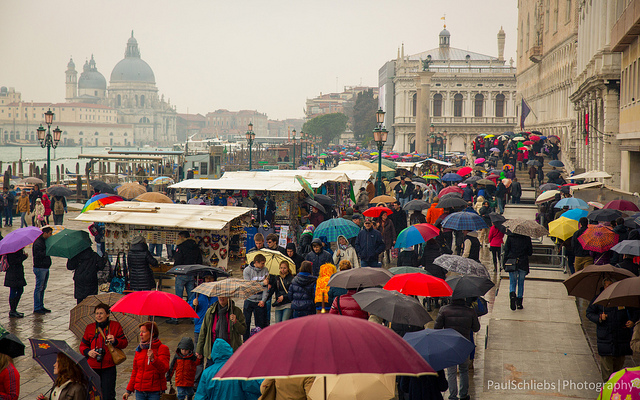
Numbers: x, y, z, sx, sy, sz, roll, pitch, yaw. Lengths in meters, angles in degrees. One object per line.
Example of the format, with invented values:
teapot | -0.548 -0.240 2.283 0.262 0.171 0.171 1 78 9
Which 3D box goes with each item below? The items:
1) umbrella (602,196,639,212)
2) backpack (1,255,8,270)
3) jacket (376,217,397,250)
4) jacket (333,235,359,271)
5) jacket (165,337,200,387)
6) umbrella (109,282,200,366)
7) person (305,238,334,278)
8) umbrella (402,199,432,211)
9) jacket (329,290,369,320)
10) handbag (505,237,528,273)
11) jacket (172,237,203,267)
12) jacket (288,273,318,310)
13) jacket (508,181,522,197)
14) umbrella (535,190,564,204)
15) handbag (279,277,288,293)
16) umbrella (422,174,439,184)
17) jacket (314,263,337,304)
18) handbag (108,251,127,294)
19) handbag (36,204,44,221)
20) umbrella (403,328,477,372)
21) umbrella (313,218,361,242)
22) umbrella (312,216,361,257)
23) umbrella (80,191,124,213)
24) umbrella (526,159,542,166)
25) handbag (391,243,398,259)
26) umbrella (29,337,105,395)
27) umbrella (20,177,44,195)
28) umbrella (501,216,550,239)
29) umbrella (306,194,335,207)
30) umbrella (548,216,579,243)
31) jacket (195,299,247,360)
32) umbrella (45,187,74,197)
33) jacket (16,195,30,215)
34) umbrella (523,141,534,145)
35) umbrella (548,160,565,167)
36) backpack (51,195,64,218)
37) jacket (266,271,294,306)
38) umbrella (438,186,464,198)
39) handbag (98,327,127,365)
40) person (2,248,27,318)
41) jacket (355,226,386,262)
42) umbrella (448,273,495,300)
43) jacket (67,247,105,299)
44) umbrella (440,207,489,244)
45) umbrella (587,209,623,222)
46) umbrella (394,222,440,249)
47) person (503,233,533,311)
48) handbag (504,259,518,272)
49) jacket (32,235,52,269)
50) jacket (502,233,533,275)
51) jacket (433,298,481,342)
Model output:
umbrella | 10.520 0.232 32.082 1.219 0.409 1.014 -1 4 0
backpack | -9.548 1.887 27.817 0.186 0.438 0.100 -2 3 -20
jacket | 2.273 1.280 32.296 0.714 1.815 0.568 0 19 7
jacket | 0.777 1.854 28.327 0.767 1.657 0.558 -1 31 8
jacket | -3.479 4.406 23.525 1.018 1.727 0.611 -1 0 18
umbrella | -4.140 2.858 22.921 1.740 1.755 1.729 19 -34 -36
person | 0.001 1.738 27.115 0.762 1.688 0.519 -3 -14 8
umbrella | 3.583 0.186 33.639 0.551 0.204 0.568 -8 -6 -18
jacket | 0.838 2.902 24.455 1.079 0.962 0.595 1 -12 2
handbag | 6.045 1.655 28.282 0.342 0.865 0.752 24 -16 -36
jacket | -4.050 1.599 28.201 1.060 1.190 0.712 -3 -5 -25
jacket | -0.467 2.616 25.633 0.861 1.102 0.705 1 -9 6
jacket | 8.919 -0.498 42.149 0.566 0.637 0.331 5 13 26
umbrella | 8.666 -0.156 34.974 0.567 0.207 0.590 -16 -8 -13
handbag | -1.032 2.408 25.970 0.041 0.462 0.051 -17 -10 -11
umbrella | 5.338 -1.036 44.350 0.699 0.375 1.109 -1 4 6
jacket | 0.113 2.341 25.730 0.382 1.047 0.614 9 7 9
handbag | -6.258 2.238 28.551 0.529 1.210 0.998 -1 3 -9
handbag | -11.350 0.492 37.237 0.370 0.461 0.508 -4 -41 -1
umbrella | 2.917 3.595 22.591 1.098 0.389 1.139 25 40 36
umbrella | 0.515 0.917 29.288 0.853 0.477 0.909 -5 -7 23
umbrella | 0.518 1.048 29.315 0.876 0.956 0.900 -26 -36 31
umbrella | -7.689 0.017 32.554 1.505 0.588 1.587 -3 5 1
umbrella | 10.488 -1.817 44.925 0.566 0.254 0.770 1 4 25
handbag | 2.810 1.936 34.700 0.354 0.541 0.182 0 -4 18
umbrella | -6.054 3.814 21.684 1.627 1.009 0.520 0 3 22
umbrella | -14.931 -0.730 47.599 1.075 0.996 1.149 0 -4 9
umbrella | 6.392 0.909 28.408 1.126 0.602 0.843 -1 3 -6
umbrella | 0.168 0.000 34.709 0.730 0.404 0.602 -1 3 2
umbrella | 7.983 1.047 30.392 0.901 1.036 0.932 8 -42 10
jacket | -2.725 3.536 24.529 1.673 1.941 1.233 3 -11 -17
umbrella | -10.842 -0.347 38.216 1.142 0.357 0.738 -1 4 7
jacket | -12.859 0.157 39.878 0.428 0.744 0.663 -2 3 -14
umbrella | 11.144 -3.095 49.294 0.376 0.174 0.830 1 4 29
umbrella | 11.830 -1.833 46.116 0.575 0.275 1.108 0 4 18
backpack | -11.104 0.234 38.888 0.748 1.006 0.310 -4 12 -18
jacket | -1.113 2.516 26.012 0.612 0.931 0.309 0 -11 26
umbrella | 5.351 -0.422 37.855 0.615 0.285 0.645 -3 -5 -12
handbag | -5.162 3.752 23.424 0.562 0.980 0.286 -35 0 36
person | -9.390 2.546 28.313 0.669 2.106 1.036 -2 3 -21
jacket | 1.588 1.403 29.717 1.049 1.418 0.658 0 -14 5
umbrella | 4.028 2.341 24.470 1.153 0.613 0.872 -1 4 -7
jacket | -7.027 2.260 27.694 1.025 2.506 0.769 1 21 -11
umbrella | 4.855 0.968 30.122 1.211 0.949 1.373 -12 -10 27
umbrella | 9.504 0.531 30.718 1.194 0.397 0.879 -2 4 -9
umbrella | 3.049 1.133 28.782 1.299 0.667 0.690 -4 4 -37
person | 6.106 2.196 28.494 0.824 2.399 0.748 -4 4 -40
handbag | 5.895 2.003 28.294 0.317 0.340 0.139 -4 -13 31
jacket | -8.446 1.547 27.929 0.569 0.958 0.766 -7 15 -26
jacket | 6.155 1.747 28.603 0.916 1.889 0.669 -1 29 12
jacket | 3.609 3.207 24.036 1.131 1.191 0.627 1 -10 6
